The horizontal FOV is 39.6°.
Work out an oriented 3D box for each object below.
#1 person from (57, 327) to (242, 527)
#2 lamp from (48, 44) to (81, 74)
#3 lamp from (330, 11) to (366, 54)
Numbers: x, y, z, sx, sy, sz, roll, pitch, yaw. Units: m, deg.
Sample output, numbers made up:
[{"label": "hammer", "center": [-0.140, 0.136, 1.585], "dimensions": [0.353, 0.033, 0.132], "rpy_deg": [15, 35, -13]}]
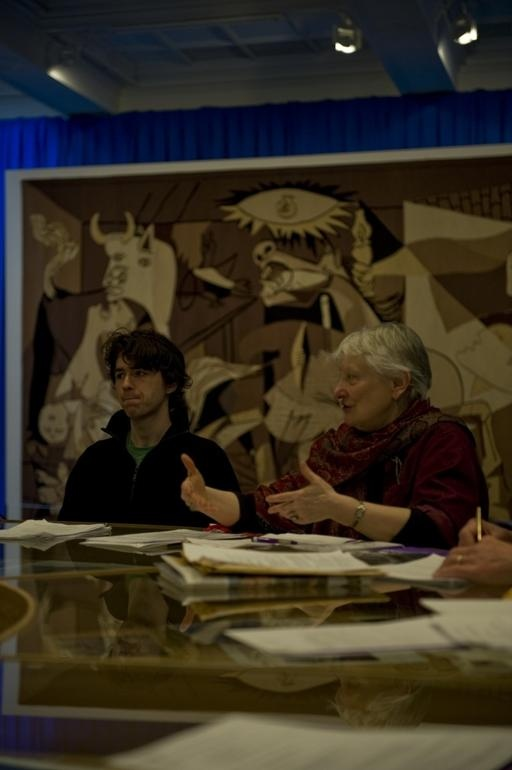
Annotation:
[{"label": "person", "center": [-0.452, 0.200, 3.034], "dimensions": [0.930, 0.840, 0.464], "rpy_deg": [-1, -4, 20]}, {"label": "lamp", "center": [-0.894, -1.505, 3.292], "dimensions": [0.137, 0.114, 0.034], "rpy_deg": [2, 21, -20]}, {"label": "lamp", "center": [0.374, -1.460, 2.942], "dimensions": [0.112, 0.114, 0.137], "rpy_deg": [-1, -4, 20]}]
